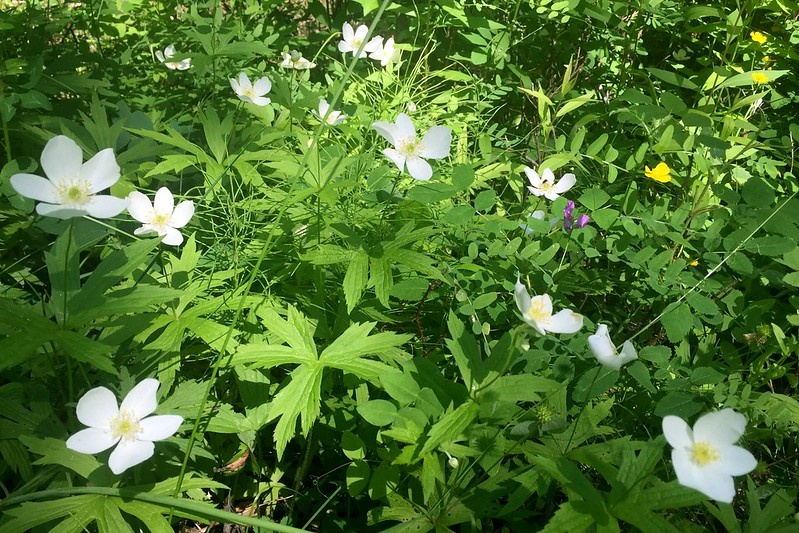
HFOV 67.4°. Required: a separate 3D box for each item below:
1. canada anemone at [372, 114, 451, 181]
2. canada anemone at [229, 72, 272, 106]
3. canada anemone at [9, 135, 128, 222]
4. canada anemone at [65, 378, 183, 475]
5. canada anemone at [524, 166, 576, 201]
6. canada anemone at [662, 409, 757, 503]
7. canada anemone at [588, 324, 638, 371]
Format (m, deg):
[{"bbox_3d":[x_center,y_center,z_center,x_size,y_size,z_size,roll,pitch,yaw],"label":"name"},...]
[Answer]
[{"bbox_3d":[0.038,-0.504,2.459,0.249,0.093,0.265,8,-3,-39],"label":"canada anemone"},{"bbox_3d":[-0.717,-0.861,2.946,0.262,0.106,0.231,16,10,32],"label":"canada anemone"},{"bbox_3d":[-1.096,-0.296,2.017,0.279,0.111,0.325,1,-19,-13],"label":"canada anemone"},{"bbox_3d":[-0.854,0.506,1.869,0.365,0.102,0.378,20,-4,11],"label":"canada anemone"},{"bbox_3d":[0.642,-0.352,2.646,0.151,0.088,0.184,15,39,27],"label":"canada anemone"},{"bbox_3d":[0.873,0.532,1.709,0.277,0.269,0.101,8,-12,-7],"label":"canada anemone"},{"bbox_3d":[0.688,0.260,1.915,0.141,0.065,0.166,28,39,2],"label":"canada anemone"}]
